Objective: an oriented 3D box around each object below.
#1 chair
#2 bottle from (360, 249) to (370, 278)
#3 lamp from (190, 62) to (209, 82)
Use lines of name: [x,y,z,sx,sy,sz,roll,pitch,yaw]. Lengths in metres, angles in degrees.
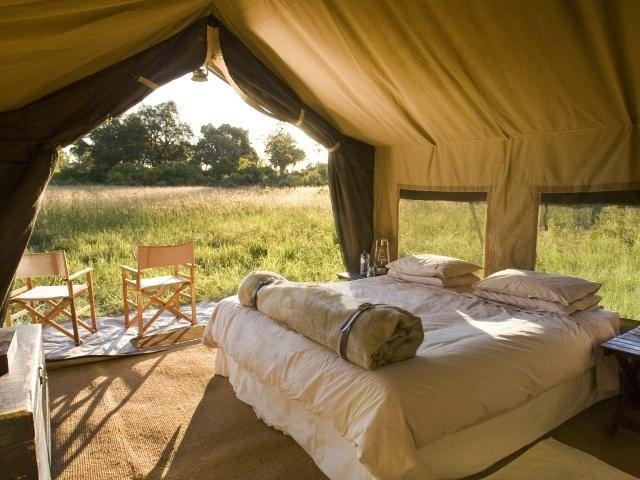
chair: [-2.214,0.493,4.681,1.705,1.009,1.176,-1,5,-32]
bottle: [0.504,0.262,5.011,0.125,0.260,0.381,2,4,5]
lamp: [-1.167,-1.606,4.305,0.139,0.178,0.252,1,4,-11]
